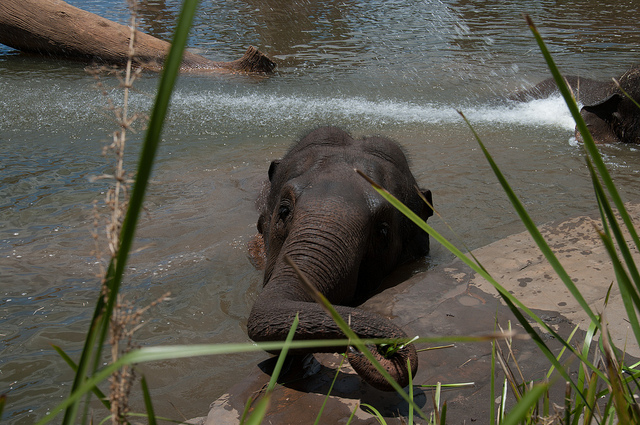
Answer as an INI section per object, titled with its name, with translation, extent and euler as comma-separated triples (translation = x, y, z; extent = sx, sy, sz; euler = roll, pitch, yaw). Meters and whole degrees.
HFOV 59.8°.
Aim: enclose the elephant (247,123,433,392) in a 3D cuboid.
[elephant]
translation = 0.019, 0.353, 3.865
extent = 1.361, 1.083, 2.069
euler = 7, 28, 8
